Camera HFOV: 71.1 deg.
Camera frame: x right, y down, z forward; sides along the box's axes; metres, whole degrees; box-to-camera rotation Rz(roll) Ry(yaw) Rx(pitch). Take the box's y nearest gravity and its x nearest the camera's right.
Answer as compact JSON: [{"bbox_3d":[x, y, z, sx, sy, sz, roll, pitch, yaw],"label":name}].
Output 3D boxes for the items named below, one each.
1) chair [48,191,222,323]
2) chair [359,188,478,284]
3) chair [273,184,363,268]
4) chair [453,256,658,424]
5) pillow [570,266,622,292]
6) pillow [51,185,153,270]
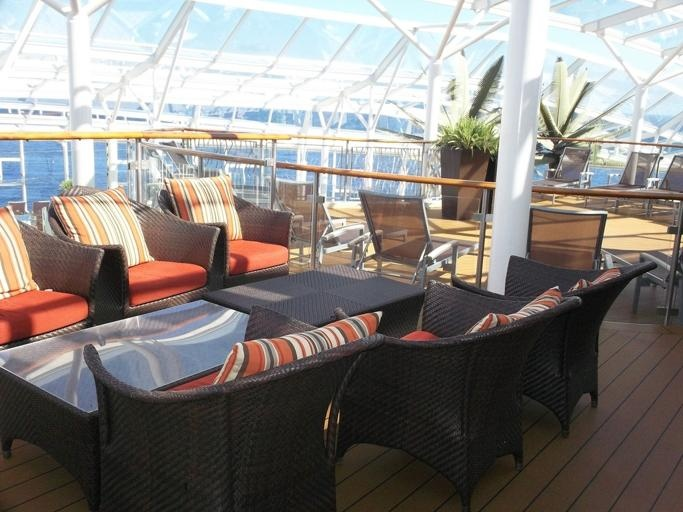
[{"bbox_3d":[-1.519,0.041,3.623,1.191,0.922,1.069,14,19,34],"label":"chair"},{"bbox_3d":[0.618,-0.240,4.195,0.709,0.660,1.036,12,22,37],"label":"chair"},{"bbox_3d":[-0.205,-0.262,4.552,0.430,0.459,0.774,-13,24,-31],"label":"chair"},{"bbox_3d":[1.219,0.388,2.962,1.053,0.847,1.004,-15,22,-32],"label":"chair"},{"bbox_3d":[1.325,0.122,2.500,0.278,0.061,0.083,-20,4,-31],"label":"pillow"},{"bbox_3d":[-1.657,-0.183,3.310,0.342,0.509,0.668,-8,3,35],"label":"pillow"}]
